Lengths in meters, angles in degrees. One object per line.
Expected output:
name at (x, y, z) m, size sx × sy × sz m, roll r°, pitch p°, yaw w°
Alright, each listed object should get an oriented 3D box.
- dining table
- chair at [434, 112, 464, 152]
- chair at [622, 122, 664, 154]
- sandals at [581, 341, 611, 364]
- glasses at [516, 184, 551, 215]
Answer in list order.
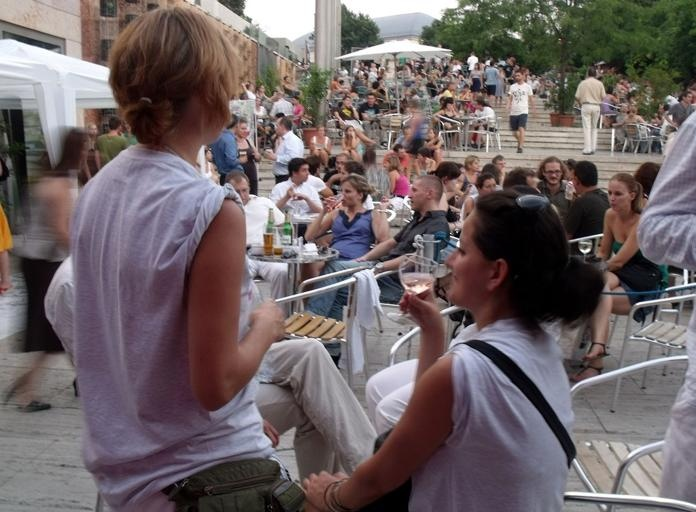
dining table at (-0.499, 0.168, 6.451) m, size 0.648 × 0.705 × 0.649 m, roll 1°, pitch 10°, yaw -6°
chair at (2.487, -3.232, 18.386) m, size 0.861 × 1.110 × 0.880 m, roll -5°, pitch 25°, yaw 1°
chair at (8.013, -3.182, 19.585) m, size 0.945 × 0.927 × 0.933 m, roll -6°, pitch 11°, yaw -13°
sandals at (1.896, 0.730, 5.502) m, size 0.096 × 0.140 × 0.322 m, roll -13°, pitch -16°, yaw 41°
glasses at (0.607, -0.183, 2.380) m, size 0.087 × 0.045 × 0.115 m, roll 26°, pitch -4°, yaw 38°
